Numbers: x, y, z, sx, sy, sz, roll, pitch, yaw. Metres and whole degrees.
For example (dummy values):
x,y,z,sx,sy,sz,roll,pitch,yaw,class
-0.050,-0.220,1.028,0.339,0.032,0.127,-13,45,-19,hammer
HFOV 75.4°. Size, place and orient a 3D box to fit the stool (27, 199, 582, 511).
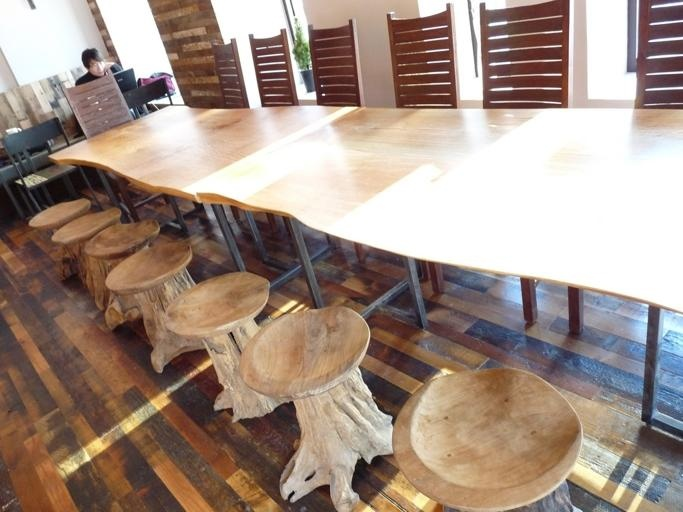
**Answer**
x,y,z,sx,sy,sz,roll,pitch,yaw,class
-0.213,0.477,2.018,1.563,0.331,0.734,22,46,37,stool
